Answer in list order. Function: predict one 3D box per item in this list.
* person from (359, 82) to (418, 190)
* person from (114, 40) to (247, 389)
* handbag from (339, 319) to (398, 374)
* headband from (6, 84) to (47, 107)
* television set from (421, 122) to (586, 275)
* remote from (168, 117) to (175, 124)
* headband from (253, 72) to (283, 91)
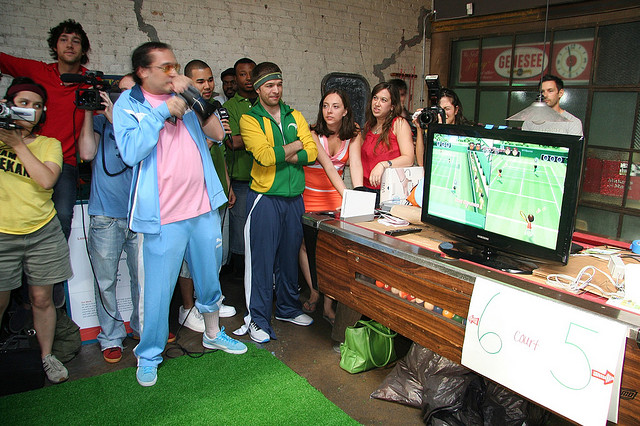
[{"bbox_3d":[0.642,-0.692,3.884,0.488,0.996,0.675,2,15,3],"label":"person"},{"bbox_3d":[-1.088,0.034,3.116,0.789,2.445,0.480,-7,17,-27],"label":"person"},{"bbox_3d":[0.423,1.076,3.420,0.582,0.388,0.302,4,-2,-45],"label":"handbag"},{"bbox_3d":[-2.144,-0.851,3.004,0.245,0.147,0.132,-10,19,-37],"label":"headband"},{"bbox_3d":[1.120,-0.069,2.568,0.293,0.755,0.855,-6,15,-39],"label":"television set"},{"bbox_3d":[-1.067,-0.657,2.951,0.034,0.034,0.011,6,-8,10],"label":"remote"},{"bbox_3d":[-0.435,-1.080,3.408,0.145,0.039,0.138,-18,-2,5],"label":"headband"}]
